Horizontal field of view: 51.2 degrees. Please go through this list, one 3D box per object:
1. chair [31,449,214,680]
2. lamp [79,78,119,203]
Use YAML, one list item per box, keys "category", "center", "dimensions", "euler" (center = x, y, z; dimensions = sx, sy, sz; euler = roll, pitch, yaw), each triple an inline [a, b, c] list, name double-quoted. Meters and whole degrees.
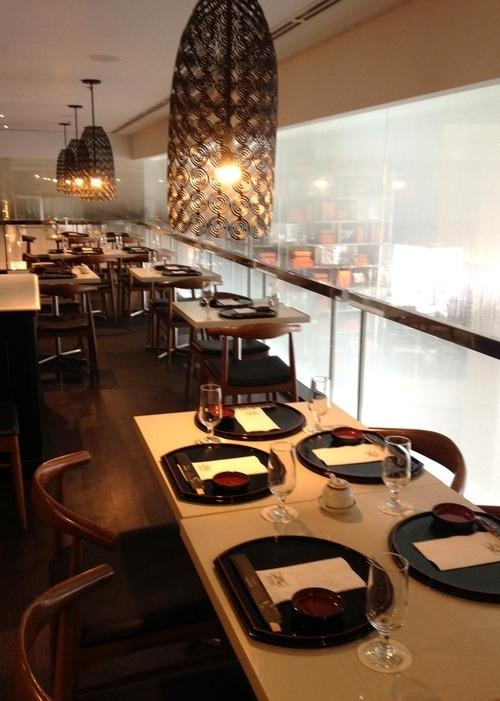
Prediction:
- category: "chair"
  center: [-0.317, 0.565, 1.548]
  dimensions: [0.488, 0.626, 0.487]
  euler: [-9, 28, -13]
- category: "lamp"
  center: [-1.648, -2.201, 5.579]
  dimensions: [0.293, 1.205, 1.230]
  euler: [-4, 12, -16]
